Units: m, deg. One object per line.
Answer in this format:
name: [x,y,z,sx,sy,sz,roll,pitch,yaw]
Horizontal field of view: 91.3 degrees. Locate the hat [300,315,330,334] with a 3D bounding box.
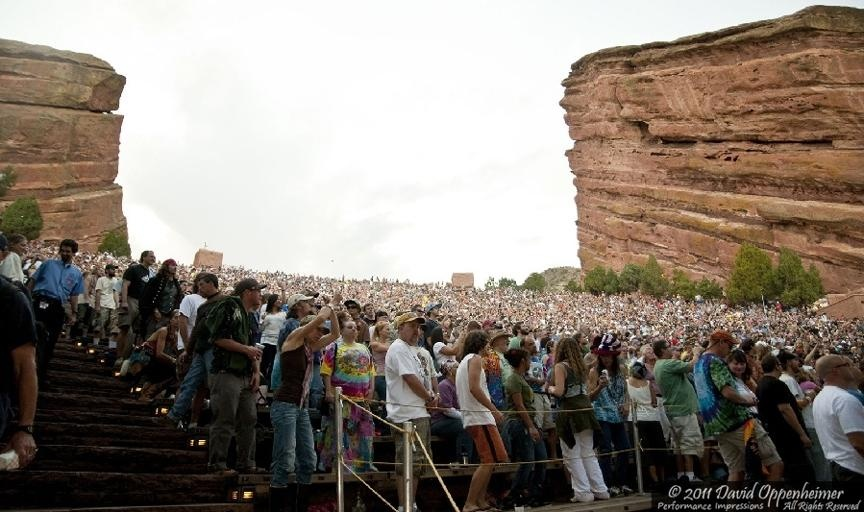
hat: [-1.839,1.029,6.370,0.549,0.256,0.387,-12,-13,17]

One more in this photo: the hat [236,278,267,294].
hat: [-3.068,0.488,7.031,0.388,0.190,0.242,-3,1,-26]

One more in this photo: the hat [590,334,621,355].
hat: [3.120,1.577,7.496,0.441,0.127,0.418,-7,4,-10]

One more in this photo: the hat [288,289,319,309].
hat: [-2.333,0.779,7.486,0.466,0.156,0.281,-19,4,1]

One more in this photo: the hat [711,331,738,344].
hat: [5.215,1.372,7.546,0.345,0.246,0.315,7,-2,8]
